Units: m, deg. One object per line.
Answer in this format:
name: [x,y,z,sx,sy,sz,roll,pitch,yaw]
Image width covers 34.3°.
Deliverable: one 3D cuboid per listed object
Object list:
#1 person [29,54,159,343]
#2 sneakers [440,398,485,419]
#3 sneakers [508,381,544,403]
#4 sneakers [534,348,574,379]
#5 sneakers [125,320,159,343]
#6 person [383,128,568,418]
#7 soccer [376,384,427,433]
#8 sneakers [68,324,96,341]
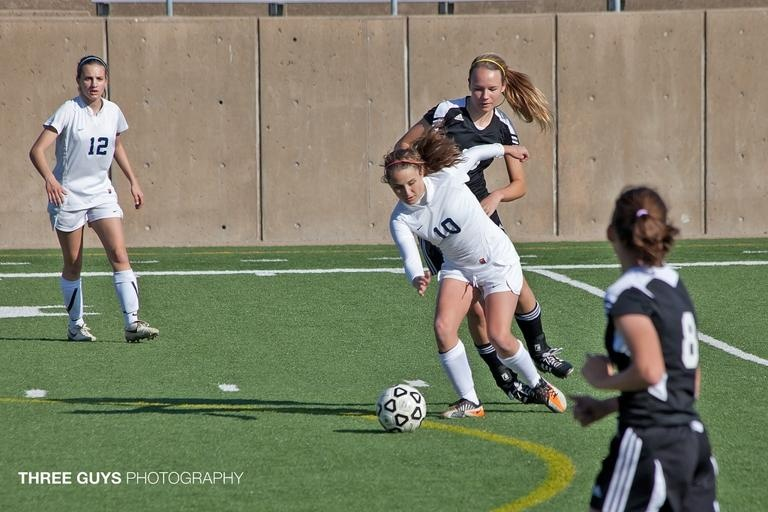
person: [-3.194,-0.409,13.629,1.125,2.691,0.983,-4,14,-12]
sneakers: [0.744,1.427,11.674,0.441,0.203,0.162,2,-12,-5]
sneakers: [1.299,1.294,11.761,0.368,0.138,0.168,28,-1,4]
sneakers: [1.665,1.042,12.194,0.447,0.225,0.194,20,-22,48]
sneakers: [-2.646,0.821,13.572,0.373,0.220,0.196,-4,1,10]
person: [0.703,0.171,11.533,1.088,2.582,0.943,-9,16,-31]
soccer: [0.163,1.388,11.333,0.418,0.417,0.400,3,-18,-3]
sneakers: [-3.338,0.845,13.767,0.318,0.152,0.149,2,4,18]
